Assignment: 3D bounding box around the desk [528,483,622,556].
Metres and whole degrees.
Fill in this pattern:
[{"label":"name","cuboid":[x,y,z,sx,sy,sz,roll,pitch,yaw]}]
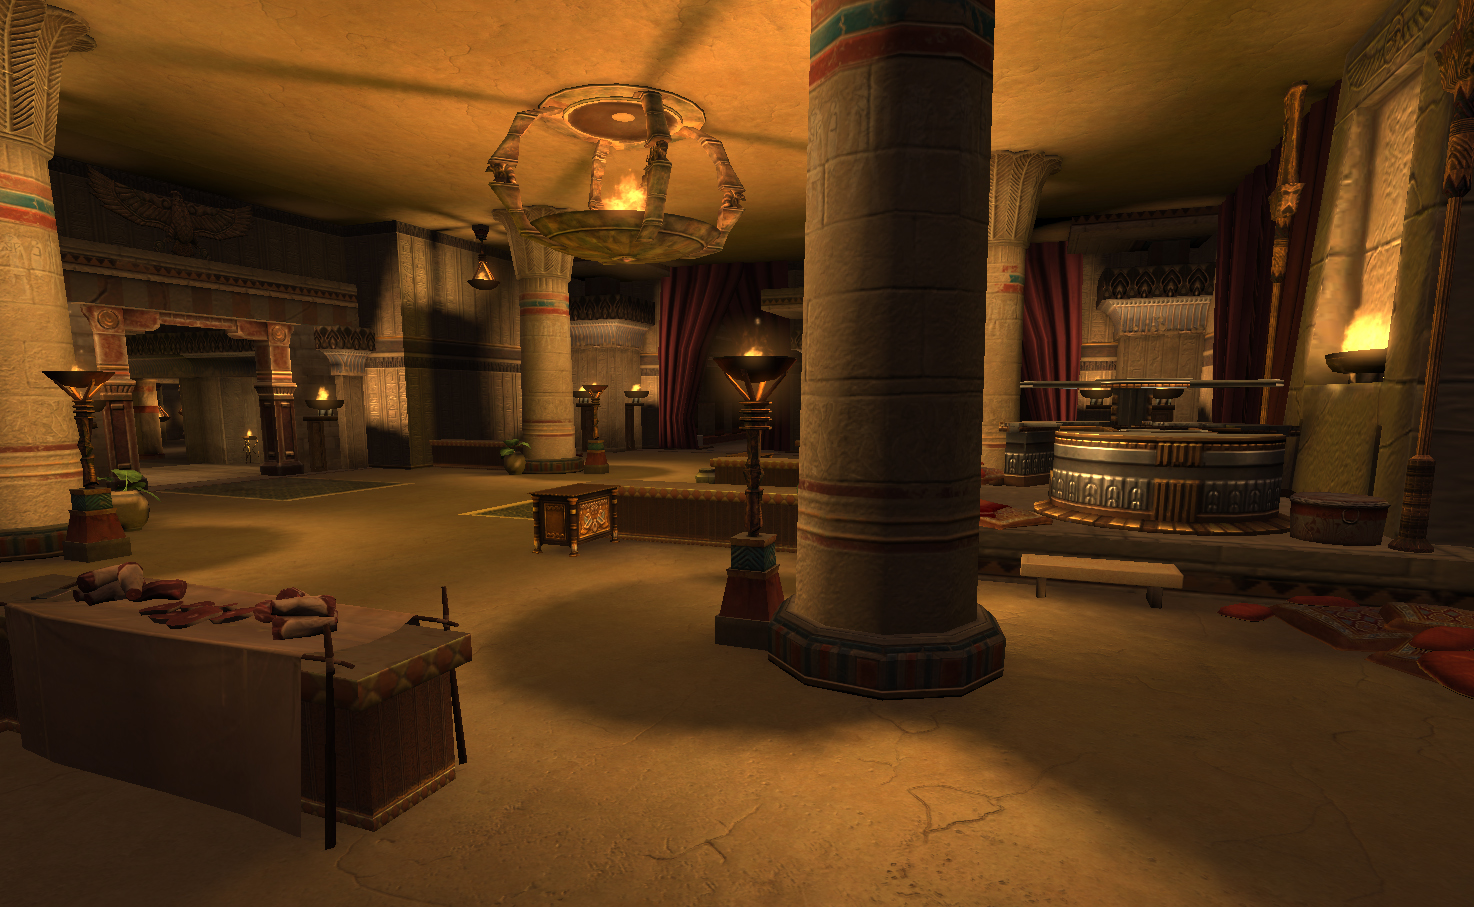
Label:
[{"label":"desk","cuboid":[-1.780,0.726,9.484,0.588,0.402,0.835,-2,-3,19]}]
